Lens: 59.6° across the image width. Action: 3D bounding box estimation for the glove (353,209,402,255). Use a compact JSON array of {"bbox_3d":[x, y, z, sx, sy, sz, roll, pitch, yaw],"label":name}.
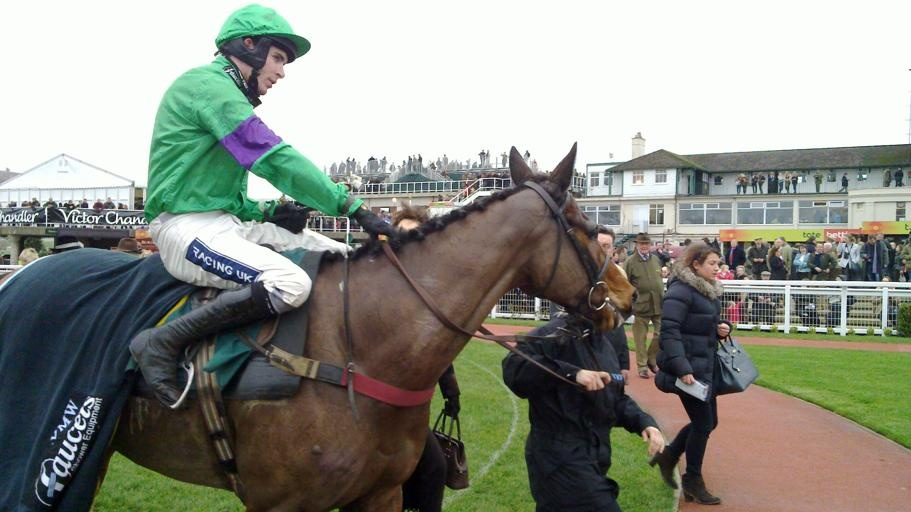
[{"bbox_3d":[-0.664,-0.199,6.477,0.367,0.138,0.646,0,-9,-3],"label":"glove"}]
